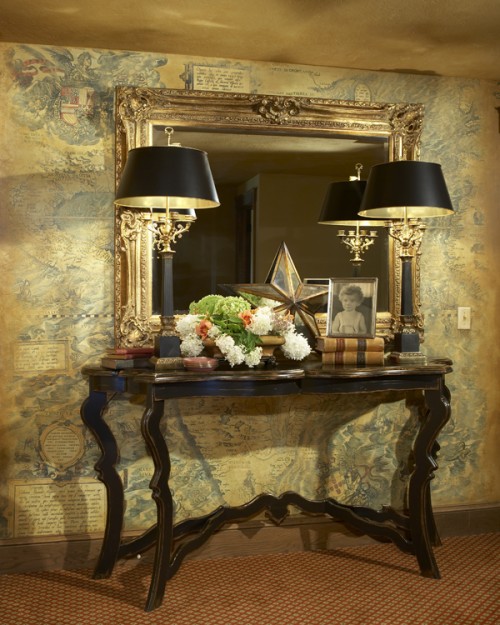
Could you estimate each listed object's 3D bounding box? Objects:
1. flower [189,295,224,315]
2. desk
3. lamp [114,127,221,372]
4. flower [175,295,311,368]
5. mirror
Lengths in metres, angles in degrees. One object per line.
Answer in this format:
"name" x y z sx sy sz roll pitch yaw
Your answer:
"flower" -0.204 -0.035 2.632 0.124 0.067 0.108 -25 -1 3
"desk" 0.226 0.760 2.827 1.571 0.801 0.460 -8 -31 30
"lamp" -0.369 -0.340 2.530 0.461 1.006 0.496 1 7 -4
"flower" -0.072 0.053 2.573 0.446 0.177 0.398 6 9 -1
"mirror" 0.033 -0.459 2.732 1.654 1.066 0.074 -1 3 -15
